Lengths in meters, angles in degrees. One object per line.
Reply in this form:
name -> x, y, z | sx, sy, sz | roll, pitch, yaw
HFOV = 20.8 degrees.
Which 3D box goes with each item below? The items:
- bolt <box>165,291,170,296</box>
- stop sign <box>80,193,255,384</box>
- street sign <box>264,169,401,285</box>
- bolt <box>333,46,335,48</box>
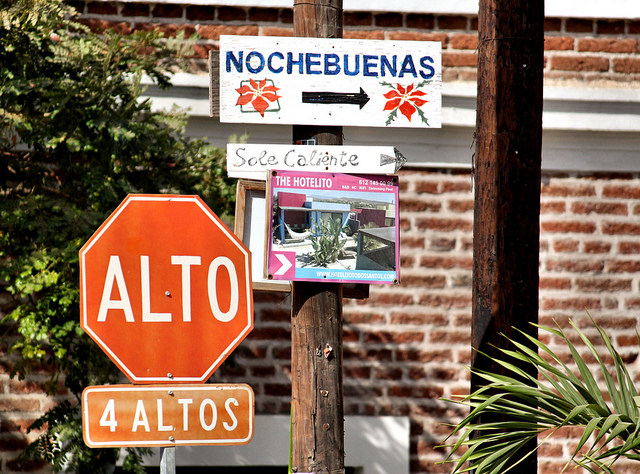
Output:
bolt -> -0.981, 0.363, 11.249 | 0.024, 0.026, 0.006 | 1, -5, -8
stop sign -> -1.006, 0.313, 11.306 | 1.149, 1.268, 0.089 | 1, -5, -8
street sign -> 0.065, -0.062, 11.391 | 0.865, 0.756, 0.039 | 4, -15, -5
bolt -> 0.084, -1.236, 11.420 | 0.011, 0.012, 0.006 | 1, 10, -1
